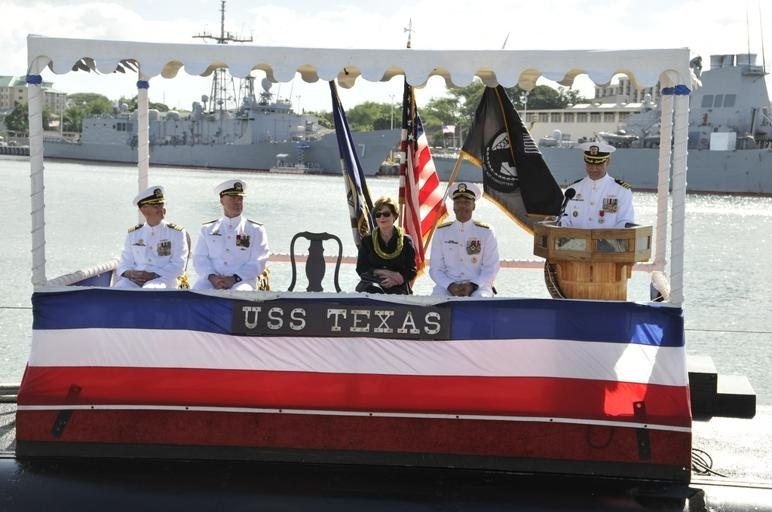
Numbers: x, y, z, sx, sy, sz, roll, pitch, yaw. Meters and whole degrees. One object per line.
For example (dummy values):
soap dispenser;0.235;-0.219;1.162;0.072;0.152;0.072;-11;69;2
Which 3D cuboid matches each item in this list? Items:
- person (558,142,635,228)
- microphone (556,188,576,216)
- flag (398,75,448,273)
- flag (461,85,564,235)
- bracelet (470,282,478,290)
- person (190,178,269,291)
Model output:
person;5.027;-1.630;35.377;1.688;1.876;0.555;2;10;5
microphone;4.366;-1.320;35.610;0.232;0.742;0.236;29;6;36
flag;0.909;-2.041;36.424;1.330;4.347;0.526;-3;29;1
flag;3.110;-2.395;36.572;2.103;4.205;0.403;-4;27;6
bracelet;2.174;0.642;35.327;0.141;0.172;0.065;-15;-9;-13
person;-3.515;-0.539;35.613;1.670;2.388;0.806;-1;10;-8
